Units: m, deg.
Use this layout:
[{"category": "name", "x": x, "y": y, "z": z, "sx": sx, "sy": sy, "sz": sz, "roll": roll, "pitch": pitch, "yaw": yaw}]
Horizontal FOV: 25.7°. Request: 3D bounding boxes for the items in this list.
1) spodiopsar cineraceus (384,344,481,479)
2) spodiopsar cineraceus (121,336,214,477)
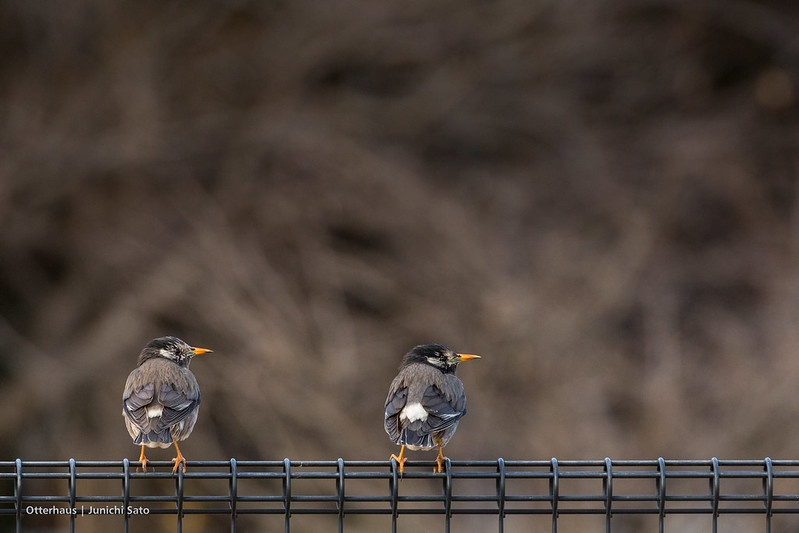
[{"category": "spodiopsar cineraceus", "x": 0.159, "y": 0.889, "z": 11.301, "sx": 0.505, "sy": 0.815, "sz": 1.066, "roll": 1, "pitch": -5, "yaw": 12}, {"category": "spodiopsar cineraceus", "x": -1.543, "y": 0.950, "z": 11.381, "sx": 0.487, "sy": 0.906, "sz": 0.982, "roll": 0, "pitch": 11, "yaw": 0}]
